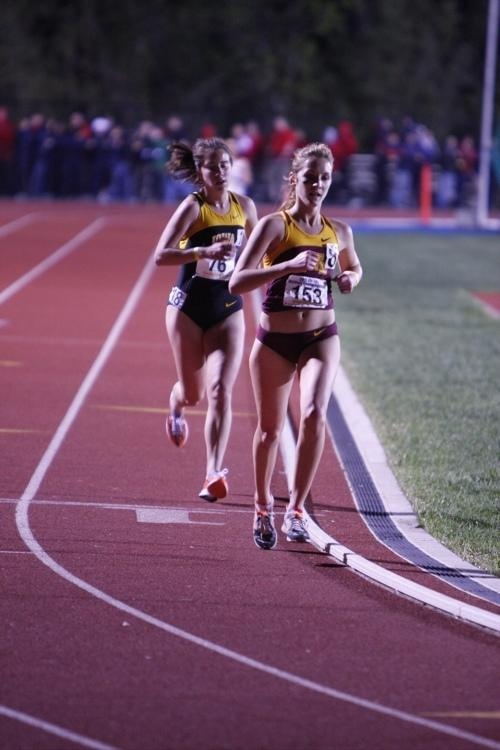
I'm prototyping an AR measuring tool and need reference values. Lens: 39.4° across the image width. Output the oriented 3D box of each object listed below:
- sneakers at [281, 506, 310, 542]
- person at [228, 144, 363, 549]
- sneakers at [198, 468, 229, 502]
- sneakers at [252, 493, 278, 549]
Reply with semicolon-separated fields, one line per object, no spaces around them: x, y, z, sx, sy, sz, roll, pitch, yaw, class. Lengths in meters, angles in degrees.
0.223;0.751;3.503;0.089;0.099;0.233;2;-3;-8;sneakers
0.204;-0.126;3.476;0.616;2.060;0.603;4;4;7;person
-0.175;0.605;3.752;0.114;0.117;0.260;19;-30;-9;sneakers
0.075;0.756;3.622;0.101;0.120;0.283;-1;41;1;sneakers
